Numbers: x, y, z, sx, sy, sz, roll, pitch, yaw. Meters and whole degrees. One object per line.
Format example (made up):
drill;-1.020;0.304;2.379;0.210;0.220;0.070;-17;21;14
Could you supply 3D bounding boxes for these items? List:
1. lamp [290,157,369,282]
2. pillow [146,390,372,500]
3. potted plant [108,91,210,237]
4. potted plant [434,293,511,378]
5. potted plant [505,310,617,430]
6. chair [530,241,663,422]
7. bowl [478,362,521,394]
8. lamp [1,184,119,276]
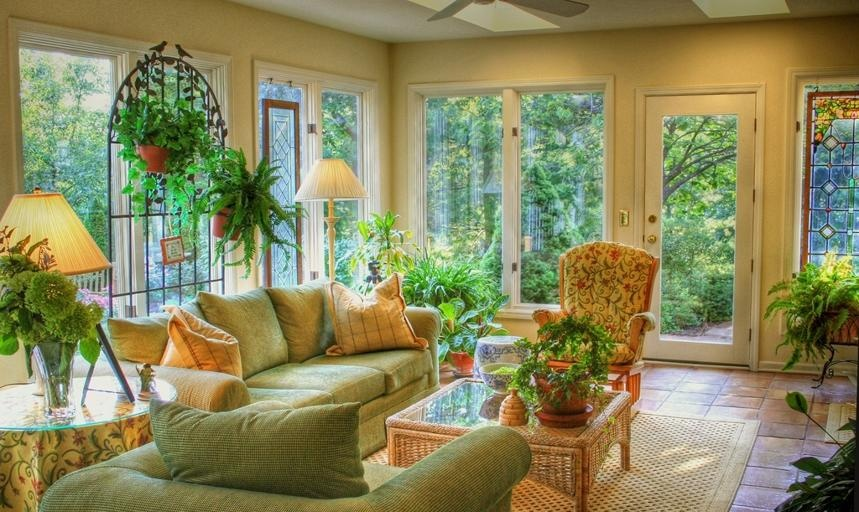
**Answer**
lamp;-0.891;-0.188;5.459;0.760;1.309;0.704;-2;-1;-25
pillow;-0.710;0.761;2.442;0.924;0.451;0.300;3;12;7
potted plant;-1.934;-0.721;4.577;0.634;0.683;0.558;2;-27;4
potted plant;0.455;0.814;6.210;0.812;0.657;0.783;1;-1;-40
potted plant;0.776;0.748;3.702;0.642;0.585;0.632;2;-3;39
chair;1.430;0.636;5.203;1.068;1.376;0.874;1;4;35
bowl;0.480;0.808;4.008;0.242;0.124;0.227;1;-5;0
lamp;-1.985;-0.143;3.289;0.530;0.315;0.473;-3;4;-6
